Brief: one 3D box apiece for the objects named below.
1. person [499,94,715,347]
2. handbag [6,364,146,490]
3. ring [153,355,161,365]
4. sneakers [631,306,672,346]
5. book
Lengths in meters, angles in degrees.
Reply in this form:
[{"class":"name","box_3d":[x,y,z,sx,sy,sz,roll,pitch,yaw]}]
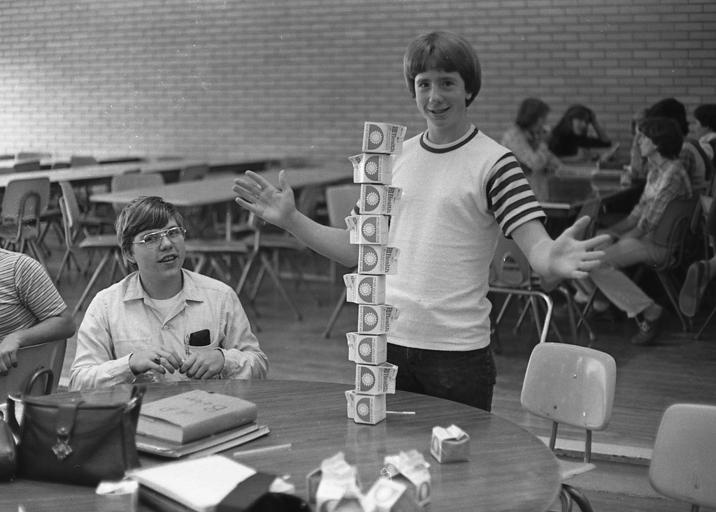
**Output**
[{"class":"person","box_3d":[1.367,-0.246,4.797,1.013,2.037,0.658,7,16,24]},{"class":"handbag","box_3d":[-0.862,0.522,2.863,0.417,0.314,0.279,-1,-5,13]},{"class":"ring","box_3d":[-0.793,0.405,3.430,0.024,0.045,0.023,10,0,0]},{"class":"sneakers","box_3d":[1.540,0.363,4.593,0.110,0.260,0.100,2,38,-9]},{"class":"book","box_3d":[-0.565,0.561,2.973,0.394,0.137,0.254,-4,8,-40]}]
